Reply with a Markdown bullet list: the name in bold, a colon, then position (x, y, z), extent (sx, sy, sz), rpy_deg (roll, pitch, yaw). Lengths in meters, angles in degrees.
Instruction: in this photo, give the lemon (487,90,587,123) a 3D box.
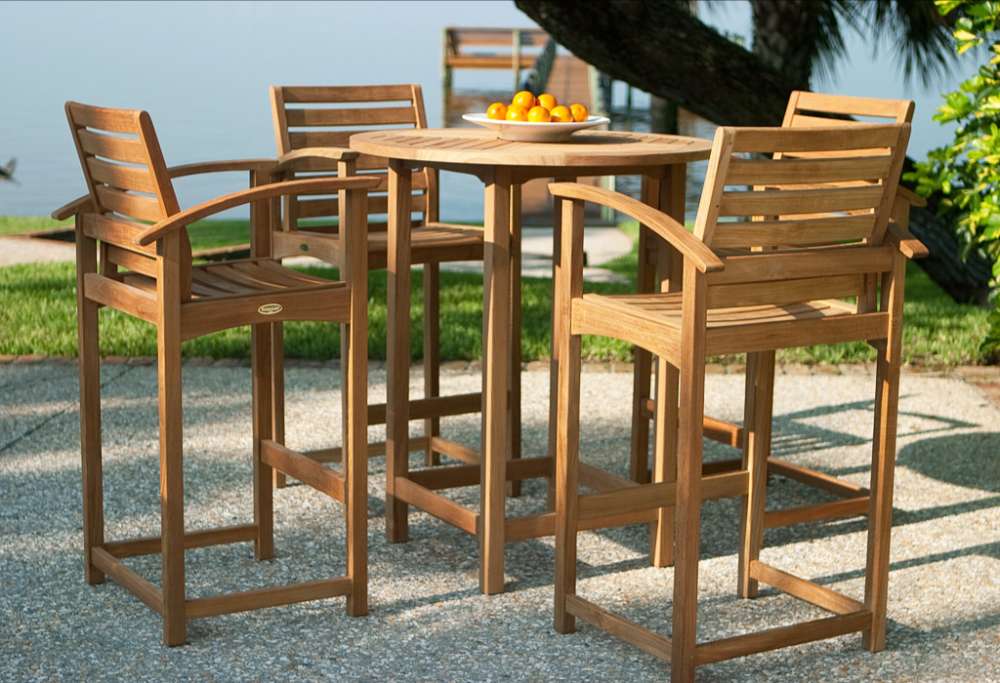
- **lemon**: position (0.112, -0.939, 4.667), extent (0.254, 0.087, 0.229), rpy_deg (-2, 5, -36)
